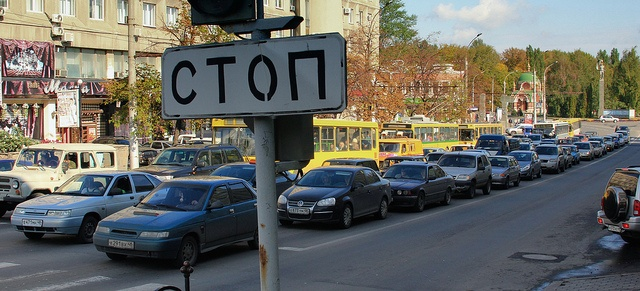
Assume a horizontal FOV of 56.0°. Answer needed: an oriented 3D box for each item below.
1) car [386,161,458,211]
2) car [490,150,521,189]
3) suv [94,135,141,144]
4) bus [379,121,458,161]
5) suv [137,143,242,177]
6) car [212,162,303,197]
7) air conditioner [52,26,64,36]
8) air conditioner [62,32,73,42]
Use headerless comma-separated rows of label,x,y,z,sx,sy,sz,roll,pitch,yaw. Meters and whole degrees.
car,7.832,3.207,46.428,3.821,2.990,9.482,0,0,36
car,16.769,2.433,55.016,1.695,2.857,3.520,2,4,40
suv,-20.667,-0.578,60.812,2.917,0.790,1.222,-1,4,8
bus,12.273,-1.195,71.012,3.481,2.654,11.452,-1,-1,33
suv,-9.582,1.268,46.537,10.586,3.132,4.150,-1,-1,-44
car,-4.412,2.581,44.919,2.717,1.628,5.928,-2,-4,42
air conditioner,-28.092,-12.265,64.511,1.162,1.019,0.519,-4,4,-41
air conditioner,-27.256,-11.629,65.192,1.609,0.868,0.856,2,-4,-34
